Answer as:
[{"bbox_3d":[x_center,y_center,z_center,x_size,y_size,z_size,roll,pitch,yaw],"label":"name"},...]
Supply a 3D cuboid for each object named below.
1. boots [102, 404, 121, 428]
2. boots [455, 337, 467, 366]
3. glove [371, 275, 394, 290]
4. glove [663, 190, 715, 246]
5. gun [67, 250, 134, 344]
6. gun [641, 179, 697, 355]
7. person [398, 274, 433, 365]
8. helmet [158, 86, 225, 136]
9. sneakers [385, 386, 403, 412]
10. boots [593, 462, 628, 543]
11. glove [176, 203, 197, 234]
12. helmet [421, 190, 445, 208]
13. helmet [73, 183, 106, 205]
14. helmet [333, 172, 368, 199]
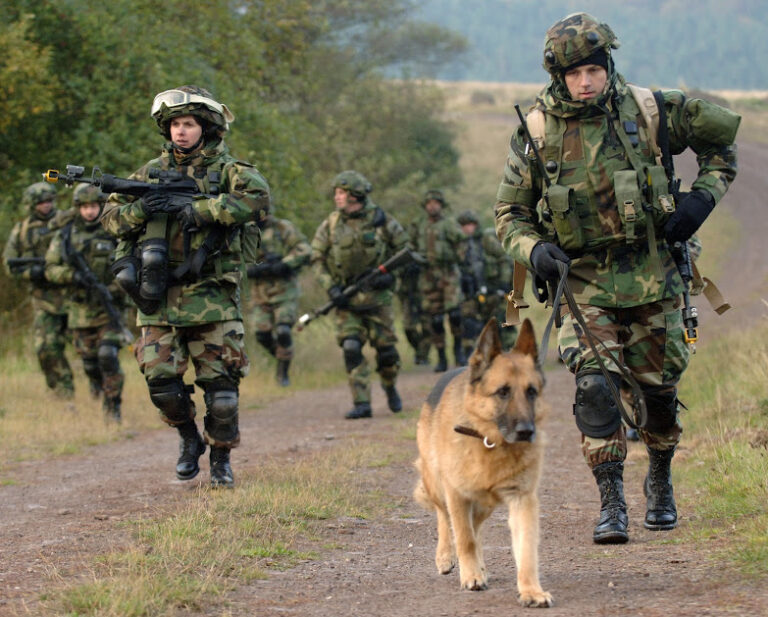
[{"bbox_3d":[-3.134,1.241,16.456,0.232,0.388,0.223,-1,-7,-5],"label":"boots"},{"bbox_3d":[1.142,0.669,21.472,0.117,0.528,0.262,-5,-2,6],"label":"boots"},{"bbox_3d":[-0.009,-0.303,16.534,0.211,0.086,0.162,-16,-6,26],"label":"glove"},{"bbox_3d":[2.503,-0.763,11.689,0.454,0.167,0.336,-49,-33,15],"label":"glove"},{"bbox_3d":[-3.203,-0.143,15.975,0.315,1.116,0.148,-29,1,-18],"label":"gun"},{"bbox_3d":[2.321,-0.354,11.721,0.178,1.441,0.552,-2,5,1],"label":"gun"},{"bbox_3d":[0.473,0.095,21.911,0.353,1.618,0.476,-5,14,-3],"label":"person"},{"bbox_3d":[-1.734,-1.802,12.865,0.388,0.346,0.521,-5,-9,42],"label":"helmet"},{"bbox_3d":[0.109,1.105,17.202,0.093,0.292,0.189,-14,-18,6],"label":"sneakers"},{"bbox_3d":[1.841,1.593,11.662,0.295,0.573,0.289,-4,1,8],"label":"boots"},{"bbox_3d":[-1.762,-0.809,12.727,0.082,0.235,0.165,-6,-14,3],"label":"glove"},{"bbox_3d":[0.780,-1.672,21.389,0.373,0.234,0.427,-5,2,-11],"label":"helmet"},{"bbox_3d":[-3.274,-1.284,15.878,0.356,0.303,0.373,-5,11,-8],"label":"helmet"},{"bbox_3d":[-0.380,-1.460,16.670,0.317,0.283,0.310,-8,0,-4],"label":"helmet"}]
